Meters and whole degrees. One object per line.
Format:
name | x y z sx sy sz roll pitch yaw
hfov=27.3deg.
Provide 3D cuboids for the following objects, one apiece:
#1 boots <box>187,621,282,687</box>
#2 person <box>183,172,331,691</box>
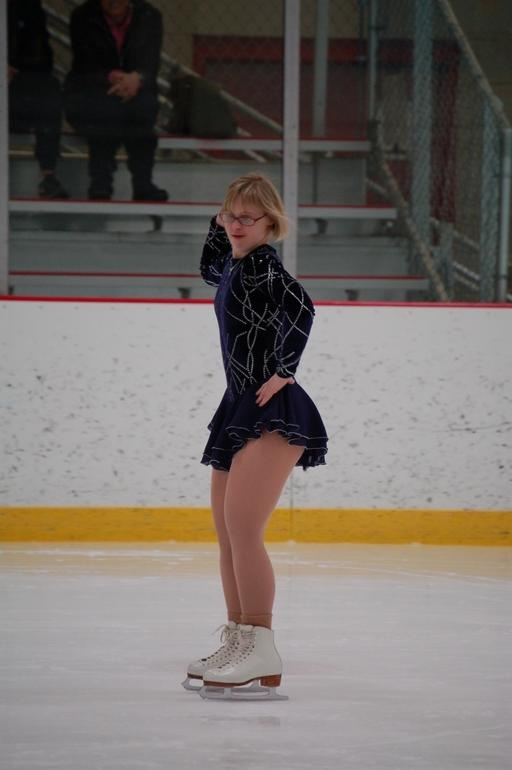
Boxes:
boots | -0.056 0.702 2.738 0.220 0.189 0.198 1 1 -15
person | -0.038 0.121 2.792 0.397 1.355 0.310 2 1 40
